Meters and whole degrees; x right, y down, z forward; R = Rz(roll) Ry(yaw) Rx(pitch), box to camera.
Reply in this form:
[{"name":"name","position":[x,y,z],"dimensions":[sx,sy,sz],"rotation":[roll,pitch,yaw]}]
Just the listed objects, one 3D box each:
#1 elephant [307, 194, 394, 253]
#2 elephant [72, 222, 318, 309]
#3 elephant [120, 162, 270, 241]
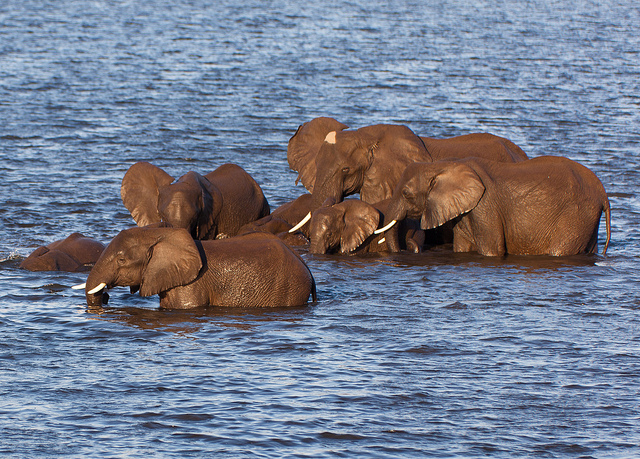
[{"name":"elephant","position":[0.577,-0.061,26.186],"dimensions":[1.403,0.644,0.882],"rotation":[-3,6,-26]},{"name":"elephant","position":[-1.906,0.467,23.626],"dimensions":[3.473,1.334,1.261],"rotation":[2,11,-5]},{"name":"elephant","position":[-2.136,-0.554,26.442],"dimensions":[1.384,1.052,2.148],"rotation":[21,23,35]}]
